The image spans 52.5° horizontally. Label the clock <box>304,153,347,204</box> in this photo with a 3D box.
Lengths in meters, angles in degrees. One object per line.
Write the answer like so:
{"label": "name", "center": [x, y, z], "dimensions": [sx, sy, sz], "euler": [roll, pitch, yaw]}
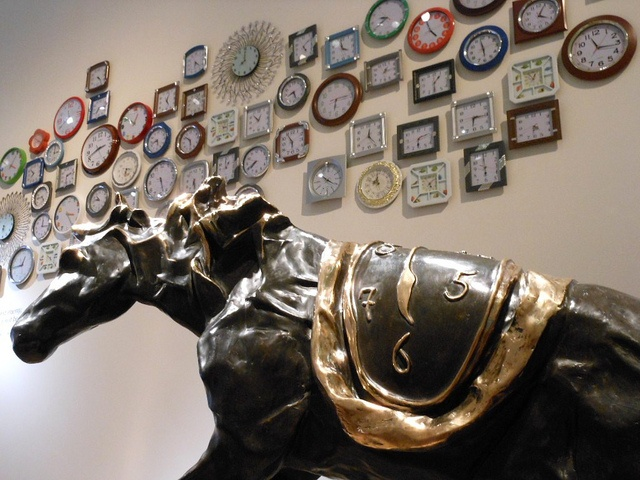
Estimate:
{"label": "clock", "center": [0.041, -0.338, 3.679], "dimensions": [0.204, 0.264, 0.029], "euler": [-13, -26, 31]}

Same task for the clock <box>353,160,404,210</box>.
{"label": "clock", "center": [0.325, -0.291, 3.505], "dimensions": [0.183, 0.223, 0.018], "euler": [-21, -29, 32]}

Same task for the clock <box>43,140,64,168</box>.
{"label": "clock", "center": [-2.008, -0.648, 4.947], "dimensions": [0.170, 0.222, 0.026], "euler": [-7, -19, 41]}

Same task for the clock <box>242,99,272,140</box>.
{"label": "clock", "center": [-0.383, -0.746, 4.060], "dimensions": [0.187, 0.233, 0.027], "euler": [-15, -27, 32]}

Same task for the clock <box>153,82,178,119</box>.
{"label": "clock", "center": [-1.062, -0.966, 4.526], "dimensions": [0.191, 0.247, 0.027], "euler": [-17, -22, 39]}

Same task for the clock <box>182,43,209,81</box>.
{"label": "clock", "center": [-0.845, -1.222, 4.480], "dimensions": [0.208, 0.262, 0.020], "euler": [-11, -19, 36]}

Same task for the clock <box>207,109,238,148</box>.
{"label": "clock", "center": [-0.616, -0.712, 4.177], "dimensions": [0.183, 0.236, 0.021], "euler": [-18, -31, 27]}

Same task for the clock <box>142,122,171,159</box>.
{"label": "clock", "center": [-1.102, -0.675, 4.441], "dimensions": [0.200, 0.280, 0.032], "euler": [-7, -23, 38]}

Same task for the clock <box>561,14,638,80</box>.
{"label": "clock", "center": [1.369, -0.933, 3.169], "dimensions": [0.285, 0.414, 0.050], "euler": [-1, -21, 33]}

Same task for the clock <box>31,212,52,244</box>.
{"label": "clock", "center": [-2.031, -0.096, 4.773], "dimensions": [0.167, 0.220, 0.018], "euler": [-5, -18, 15]}

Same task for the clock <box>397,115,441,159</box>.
{"label": "clock", "center": [0.532, -0.541, 3.465], "dimensions": [0.177, 0.204, 0.024], "euler": [-11, -24, 30]}

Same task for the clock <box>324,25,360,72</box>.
{"label": "clock", "center": [0.140, -1.140, 3.879], "dimensions": [0.213, 0.272, 0.033], "euler": [-15, -27, 30]}

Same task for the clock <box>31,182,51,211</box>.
{"label": "clock", "center": [-2.070, -0.320, 4.869], "dimensions": [0.141, 0.205, 0.018], "euler": [-14, -21, 27]}

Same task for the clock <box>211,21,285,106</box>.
{"label": "clock", "center": [-0.446, -1.140, 4.248], "dimensions": [0.410, 0.519, 0.035], "euler": [-23, -26, 23]}

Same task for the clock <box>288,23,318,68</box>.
{"label": "clock", "center": [-0.103, -1.208, 4.053], "dimensions": [0.213, 0.230, 0.078], "euler": [-4, -1, 28]}

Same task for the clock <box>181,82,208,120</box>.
{"label": "clock", "center": [-0.835, -0.931, 4.384], "dimensions": [0.199, 0.263, 0.023], "euler": [-12, -21, 32]}

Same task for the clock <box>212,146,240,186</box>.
{"label": "clock", "center": [-0.586, -0.460, 4.071], "dimensions": [0.196, 0.194, 0.140], "euler": [-3, -1, 7]}

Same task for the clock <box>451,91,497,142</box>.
{"label": "clock", "center": [0.796, -0.629, 3.354], "dimensions": [0.199, 0.264, 0.033], "euler": [-10, -24, 30]}

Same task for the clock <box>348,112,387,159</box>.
{"label": "clock", "center": [0.270, -0.576, 3.618], "dimensions": [0.191, 0.232, 0.031], "euler": [-14, -24, 36]}

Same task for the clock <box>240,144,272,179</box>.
{"label": "clock", "center": [-0.381, -0.474, 3.960], "dimensions": [0.161, 0.217, 0.019], "euler": [-5, -17, 29]}

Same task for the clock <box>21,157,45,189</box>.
{"label": "clock", "center": [-2.183, -0.510, 4.999], "dimensions": [0.171, 0.232, 0.022], "euler": [-14, -23, 12]}

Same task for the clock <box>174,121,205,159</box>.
{"label": "clock", "center": [-0.845, -0.654, 4.283], "dimensions": [0.198, 0.250, 0.032], "euler": [-8, -23, 37]}

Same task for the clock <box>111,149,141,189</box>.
{"label": "clock", "center": [-1.331, -0.484, 4.512], "dimensions": [0.210, 0.270, 0.031], "euler": [-13, -29, 37]}

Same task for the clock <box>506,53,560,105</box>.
{"label": "clock", "center": [1.074, -0.806, 3.268], "dimensions": [0.218, 0.311, 0.024], "euler": [-9, -30, 27]}

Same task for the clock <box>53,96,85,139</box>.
{"label": "clock", "center": [-1.914, -0.938, 5.008], "dimensions": [0.278, 0.358, 0.022], "euler": [-12, -22, 16]}

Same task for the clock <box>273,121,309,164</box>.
{"label": "clock", "center": [-0.161, -0.576, 3.874], "dimensions": [0.185, 0.245, 0.026], "euler": [-13, -23, 32]}

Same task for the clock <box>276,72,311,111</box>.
{"label": "clock", "center": [-0.153, -0.907, 3.985], "dimensions": [0.175, 0.211, 0.030], "euler": [-24, -32, 34]}

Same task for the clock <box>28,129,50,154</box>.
{"label": "clock", "center": [-2.173, -0.768, 5.078], "dimensions": [0.133, 0.161, 0.042], "euler": [-28, -34, 24]}

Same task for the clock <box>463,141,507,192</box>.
{"label": "clock", "center": [0.827, -0.359, 3.249], "dimensions": [0.183, 0.276, 0.022], "euler": [-12, -29, 32]}

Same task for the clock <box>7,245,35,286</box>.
{"label": "clock", "center": [-2.158, 0.198, 4.736], "dimensions": [0.187, 0.227, 0.022], "euler": [-23, -26, 37]}

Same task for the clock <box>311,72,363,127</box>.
{"label": "clock", "center": [0.110, -0.811, 3.793], "dimensions": [0.268, 0.347, 0.041], "euler": [-8, -24, 35]}

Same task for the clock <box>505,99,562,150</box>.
{"label": "clock", "center": [1.052, -0.564, 3.194], "dimensions": [0.194, 0.234, 0.017], "euler": [-12, -28, 30]}

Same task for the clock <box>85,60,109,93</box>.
{"label": "clock", "center": [-1.669, -1.245, 4.952], "dimensions": [0.198, 0.244, 0.051], "euler": [-9, -13, 38]}

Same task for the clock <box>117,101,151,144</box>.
{"label": "clock", "center": [-1.301, -0.826, 4.616], "dimensions": [0.243, 0.350, 0.051], "euler": [-11, -27, 33]}

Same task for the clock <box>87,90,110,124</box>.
{"label": "clock", "center": [-1.642, -0.993, 4.871], "dimensions": [0.178, 0.263, 0.030], "euler": [-13, -21, 30]}

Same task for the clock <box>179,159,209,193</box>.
{"label": "clock", "center": [-0.808, -0.413, 4.159], "dimensions": [0.239, 0.168, 0.112], "euler": [-4, -2, 18]}

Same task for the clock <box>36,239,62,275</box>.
{"label": "clock", "center": [-1.780, 0.120, 4.305], "dimensions": [0.156, 0.233, 0.029], "euler": [-16, -26, 29]}

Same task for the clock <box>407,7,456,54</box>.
{"label": "clock", "center": [0.629, -1.166, 3.633], "dimensions": [0.215, 0.288, 0.029], "euler": [-8, -22, 26]}

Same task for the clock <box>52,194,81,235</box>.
{"label": "clock", "center": [-1.798, -0.180, 4.667], "dimensions": [0.205, 0.300, 0.033], "euler": [-9, -26, 7]}
